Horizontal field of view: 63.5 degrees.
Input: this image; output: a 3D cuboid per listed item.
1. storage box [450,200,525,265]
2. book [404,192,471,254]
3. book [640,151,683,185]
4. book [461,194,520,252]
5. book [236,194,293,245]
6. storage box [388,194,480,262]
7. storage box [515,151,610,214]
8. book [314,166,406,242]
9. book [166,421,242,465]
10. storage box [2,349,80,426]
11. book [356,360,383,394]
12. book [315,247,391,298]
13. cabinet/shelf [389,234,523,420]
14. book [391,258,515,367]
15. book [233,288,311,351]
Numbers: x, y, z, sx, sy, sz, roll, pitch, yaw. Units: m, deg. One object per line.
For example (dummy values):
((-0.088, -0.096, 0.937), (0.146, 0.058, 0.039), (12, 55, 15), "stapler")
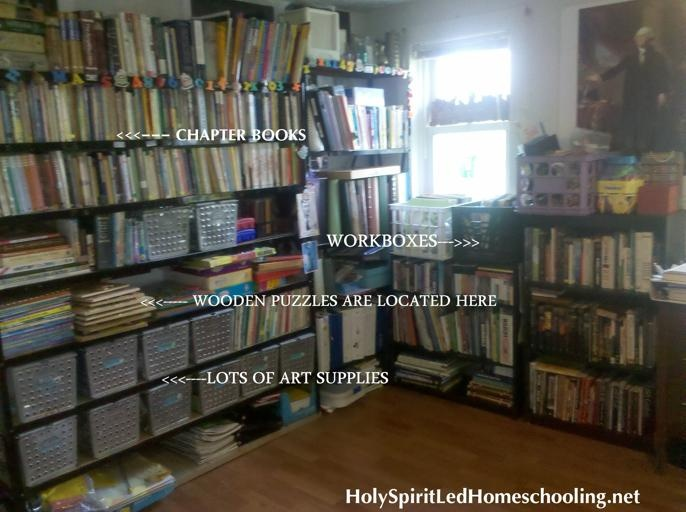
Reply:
((0.920, -0.167, 3.698), (0.475, 0.371, 0.463), (8, 11, 38), "storage box")
((0.623, -0.242, 3.868), (0.470, 0.249, 0.466), (8, 15, 41), "book")
((1.826, -0.495, 3.225), (0.258, 0.202, 0.211), (6, 9, 33), "book")
((0.947, -0.223, 3.697), (0.433, 0.340, 0.417), (4, 13, 42), "book")
((-0.497, -0.229, 3.434), (0.200, 0.279, 0.366), (2, 6, 43), "book")
((0.600, -0.225, 4.035), (0.552, 0.425, 0.547), (7, 12, 40), "storage box")
((1.285, -0.429, 3.399), (0.503, 0.339, 0.441), (-1, 7, -2), "storage box")
((0.100, -0.347, 3.883), (0.326, 0.487, 0.613), (7, 11, 40), "book")
((-0.844, 1.073, 3.244), (0.279, 0.077, 0.274), (7, 9, 37), "book")
((-1.389, 0.591, 2.679), (0.317, 0.320, 0.392), (0, 3, 40), "storage box")
((0.203, 0.879, 4.041), (0.233, 0.190, 0.071), (-13, 8, -42), "book")
((0.076, 0.114, 3.956), (0.440, 0.221, 0.424), (-10, 13, -43), "book")
((0.797, 0.481, 3.769), (1.410, 1.086, 0.470), (5, 9, 31), "cabinet/shelf")
((0.782, 0.377, 3.791), (0.877, 0.660, 0.322), (7, 13, 31), "book")
((-0.443, 0.384, 3.440), (0.362, 0.279, 0.693), (5, 9, 39), "book")
